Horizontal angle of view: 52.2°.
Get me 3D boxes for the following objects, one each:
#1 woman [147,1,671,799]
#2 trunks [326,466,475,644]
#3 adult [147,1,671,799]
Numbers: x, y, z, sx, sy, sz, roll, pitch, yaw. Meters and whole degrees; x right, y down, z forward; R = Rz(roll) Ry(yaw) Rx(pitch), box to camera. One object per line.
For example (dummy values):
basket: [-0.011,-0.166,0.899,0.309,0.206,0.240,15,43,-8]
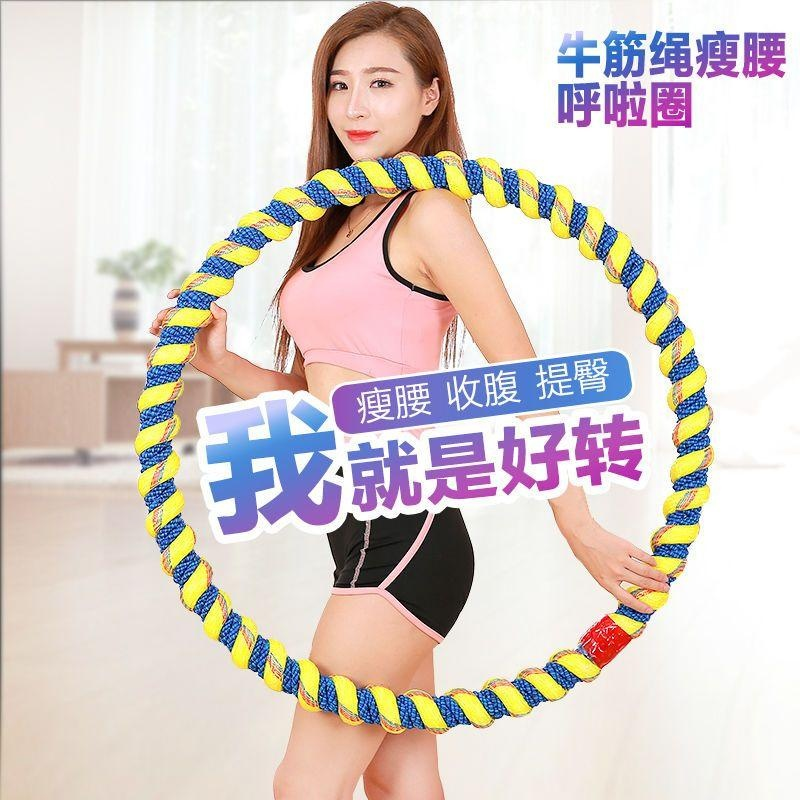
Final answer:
woman: [-0.003,0.009,1.404,0.854,1.453,0.522,7,8,41]
trunks: [0.018,0.266,1.311,0.182,0.267,0.283,1,-32,5]
adult: [-0.003,0.009,1.404,0.854,1.453,0.522,7,8,41]
